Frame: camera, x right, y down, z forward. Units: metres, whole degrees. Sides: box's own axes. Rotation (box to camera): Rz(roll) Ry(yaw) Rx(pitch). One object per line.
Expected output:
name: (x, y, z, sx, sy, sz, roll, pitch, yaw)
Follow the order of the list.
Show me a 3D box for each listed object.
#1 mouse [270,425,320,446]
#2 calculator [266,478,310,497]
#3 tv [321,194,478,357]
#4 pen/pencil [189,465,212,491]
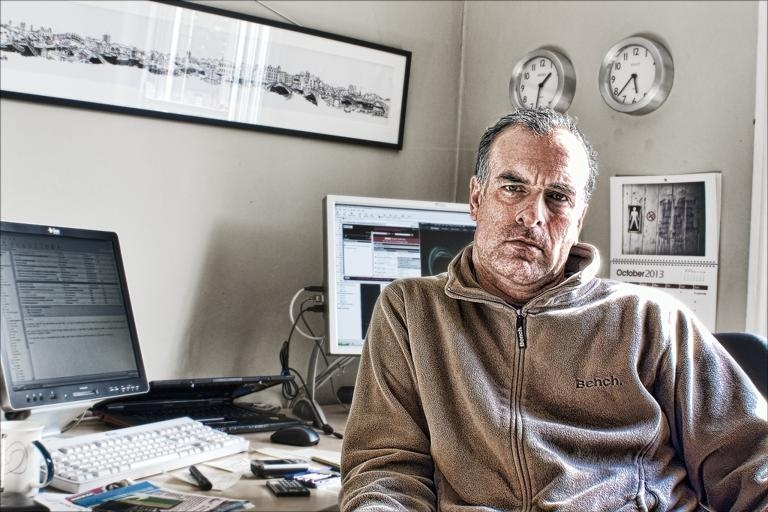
mouse: (-0.268, 0.529, 1.839, 0.106, 0.030, 0.070, 3, -8, 11)
calculator: (-0.243, 0.584, 1.547, 0.105, 0.022, 0.071, 1, 3, -15)
tv: (0.079, 0.070, 2.149, 0.735, 0.552, 0.058, 3, 5, 45)
pen/pencil: (-0.475, 0.557, 1.560, 0.028, 0.026, 0.106, 40, -14, -31)
